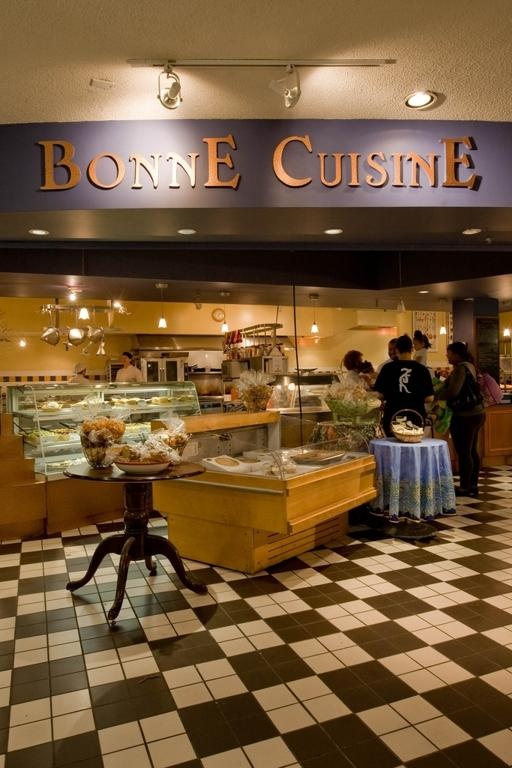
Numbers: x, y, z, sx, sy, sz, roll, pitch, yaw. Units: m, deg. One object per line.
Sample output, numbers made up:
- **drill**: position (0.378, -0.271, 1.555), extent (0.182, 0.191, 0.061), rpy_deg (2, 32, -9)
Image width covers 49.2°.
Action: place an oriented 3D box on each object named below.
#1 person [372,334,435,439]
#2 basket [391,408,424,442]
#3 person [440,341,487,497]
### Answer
- **person**: position (1.284, 0.167, 4.819), extent (0.490, 1.126, 0.364), rpy_deg (2, 15, 19)
- **basket**: position (1.169, 0.340, 4.370), extent (0.231, 0.217, 0.299), rpy_deg (1, -6, 3)
- **person**: position (2.090, 0.352, 5.707), extent (0.408, 1.605, 0.473), rpy_deg (-1, 0, 22)
